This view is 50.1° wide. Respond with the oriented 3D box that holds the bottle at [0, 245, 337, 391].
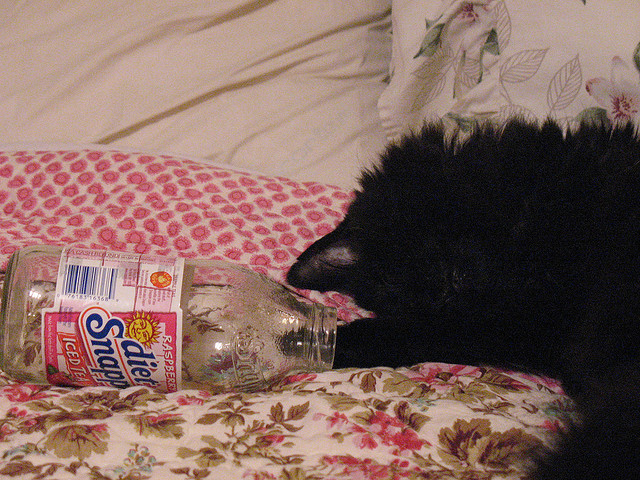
[{"bbox_3d":[-0.189,0.094,0.847,0.401,0.182,0.172,-5,50,5],"label":"bottle"}]
